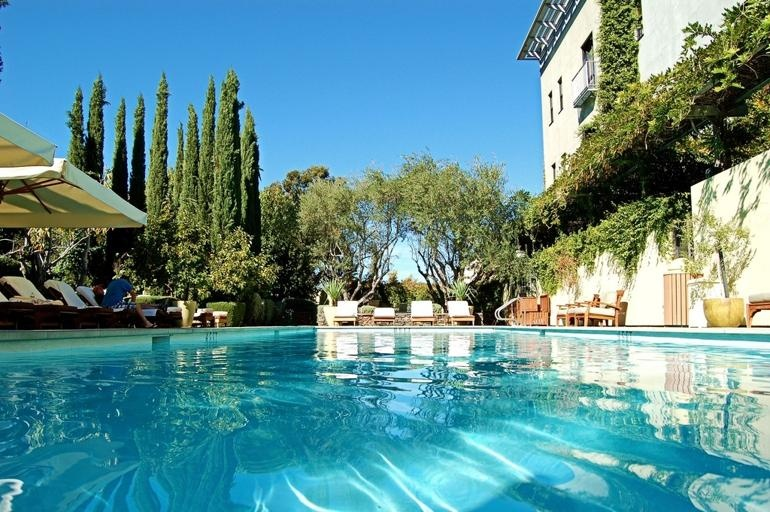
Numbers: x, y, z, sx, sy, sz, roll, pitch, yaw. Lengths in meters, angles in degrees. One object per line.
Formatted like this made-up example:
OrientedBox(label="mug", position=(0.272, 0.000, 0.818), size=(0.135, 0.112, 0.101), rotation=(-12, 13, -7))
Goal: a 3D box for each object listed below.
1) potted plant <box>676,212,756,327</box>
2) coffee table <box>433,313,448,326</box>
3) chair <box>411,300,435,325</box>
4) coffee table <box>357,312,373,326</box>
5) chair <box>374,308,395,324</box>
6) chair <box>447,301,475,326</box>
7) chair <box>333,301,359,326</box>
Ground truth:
OrientedBox(label="potted plant", position=(6.796, 0.268, 11.635), size=(0.850, 2.477, 1.765), rotation=(0, 3, 2))
OrientedBox(label="coffee table", position=(2.304, 2.523, 21.598), size=(0.434, 0.473, 0.112), rotation=(0, -4, -7))
OrientedBox(label="chair", position=(1.549, 2.202, 21.165), size=(0.775, 0.908, 0.865), rotation=(0, -12, -1))
OrientedBox(label="coffee table", position=(-0.632, 2.616, 22.389), size=(0.568, 0.361, 1.555), rotation=(0, 3, -3))
OrientedBox(label="chair", position=(0.122, 2.472, 21.618), size=(0.659, 0.559, 0.616), rotation=(-1, -10, 3))
OrientedBox(label="chair", position=(2.918, 2.187, 20.738), size=(0.631, 0.881, 1.066), rotation=(0, -16, -2))
OrientedBox(label="chair", position=(-1.365, 2.244, 21.379), size=(0.700, 1.112, 0.972), rotation=(0, -13, 2))
